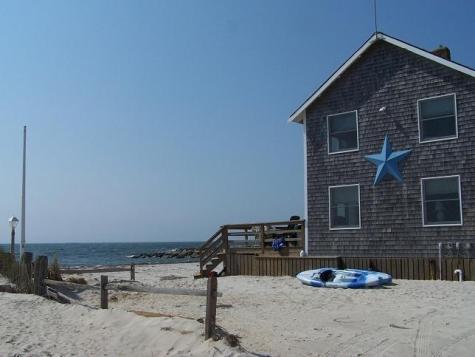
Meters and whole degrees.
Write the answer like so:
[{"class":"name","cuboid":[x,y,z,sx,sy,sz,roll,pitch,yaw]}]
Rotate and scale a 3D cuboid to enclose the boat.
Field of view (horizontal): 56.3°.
[{"class":"boat","cuboid":[3.653,3.612,15.816,2.199,0.492,1.272,-5,-8,24]}]
